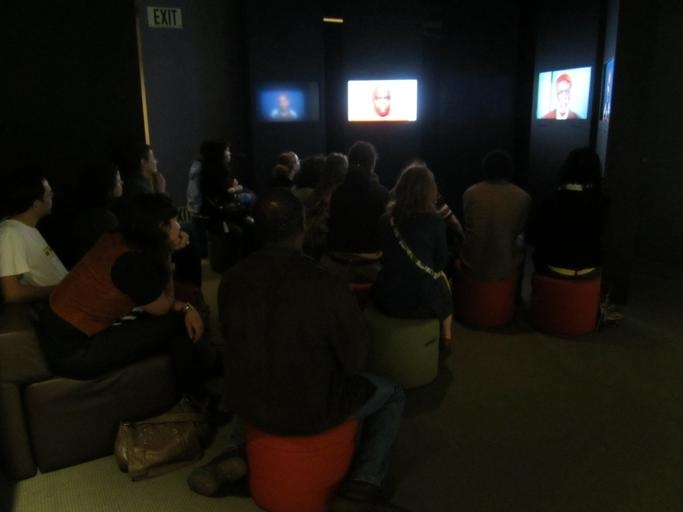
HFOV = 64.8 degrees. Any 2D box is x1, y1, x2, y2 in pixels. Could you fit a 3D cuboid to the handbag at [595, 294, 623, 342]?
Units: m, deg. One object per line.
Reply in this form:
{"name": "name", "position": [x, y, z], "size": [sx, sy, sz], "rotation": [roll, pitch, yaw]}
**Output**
{"name": "handbag", "position": [2.389, 0.552, 4.794], "size": [0.272, 0.146, 0.371], "rotation": [8, 22, 31]}

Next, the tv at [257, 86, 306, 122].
{"name": "tv", "position": [-0.850, -2.089, 7.440], "size": [0.682, 0.533, 0.394], "rotation": [0, 10, -3]}

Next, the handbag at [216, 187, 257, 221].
{"name": "handbag", "position": [-1.082, -0.524, 5.610], "size": [0.460, 0.298, 0.669], "rotation": [1, 10, 4]}

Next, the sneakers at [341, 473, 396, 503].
{"name": "sneakers", "position": [0.135, 1.317, 2.910], "size": [0.268, 0.100, 0.192], "rotation": [4, 28, 4]}

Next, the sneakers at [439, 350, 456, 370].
{"name": "sneakers", "position": [0.834, 0.818, 4.319], "size": [0.107, 0.226, 0.112], "rotation": [-2, 8, -22]}

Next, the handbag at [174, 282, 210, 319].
{"name": "handbag", "position": [-1.139, 0.337, 4.174], "size": [0.255, 0.305, 0.217], "rotation": [-28, 4, -16]}

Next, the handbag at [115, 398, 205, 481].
{"name": "handbag", "position": [-1.096, 1.132, 3.296], "size": [0.443, 0.368, 0.188], "rotation": [-11, -19, -23]}

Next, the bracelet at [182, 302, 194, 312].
{"name": "bracelet", "position": [-1.058, 0.359, 3.713], "size": [0.042, 0.060, 0.024], "rotation": [6, 34, 1]}

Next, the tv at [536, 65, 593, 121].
{"name": "tv", "position": [2.822, -2.069, 6.774], "size": [0.024, 0.594, 0.728], "rotation": [-4, 12, -23]}
